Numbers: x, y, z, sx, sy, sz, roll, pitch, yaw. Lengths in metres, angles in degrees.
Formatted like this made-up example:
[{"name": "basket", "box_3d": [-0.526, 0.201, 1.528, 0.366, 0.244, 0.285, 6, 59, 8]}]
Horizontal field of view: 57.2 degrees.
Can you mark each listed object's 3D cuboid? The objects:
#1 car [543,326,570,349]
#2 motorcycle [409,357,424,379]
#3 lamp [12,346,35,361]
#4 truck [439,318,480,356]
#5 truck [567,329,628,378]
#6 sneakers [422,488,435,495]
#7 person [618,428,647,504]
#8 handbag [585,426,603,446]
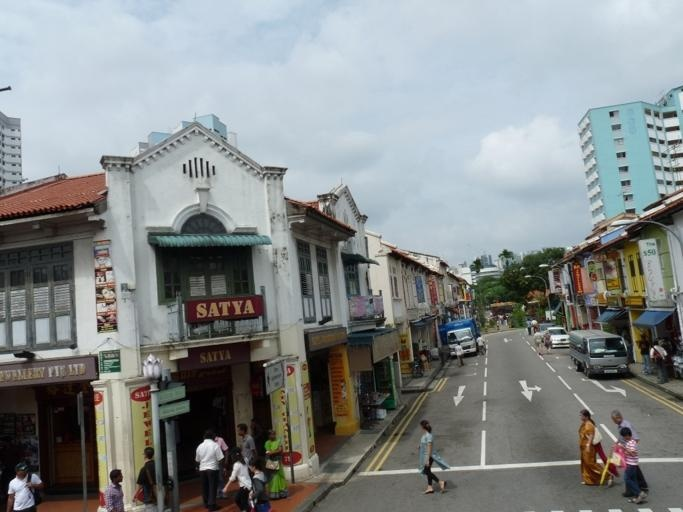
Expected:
[{"name": "car", "box_3d": [17.859, 6.620, 51.797, 1.321, 1.074, 3.226, -4, -12, 9]}, {"name": "motorcycle", "box_3d": [4.976, 7.433, 41.774, 0.948, 1.324, 0.985, -1, -9, 9]}, {"name": "lamp", "box_3d": [-10.400, 3.261, 20.617, 0.511, 0.204, 0.408, 8, -22, 14]}, {"name": "truck", "box_3d": [10.319, 7.154, 54.040, 2.212, 2.277, 4.383, -6, -19, 9]}, {"name": "truck", "box_3d": [14.411, 5.455, 35.359, 1.872, 1.788, 3.693, -2, -10, 5]}, {"name": "sneakers", "box_3d": [2.761, 7.386, 19.736, 0.368, 0.260, 0.126, 3, -9, 6]}, {"name": "person", "box_3d": [8.321, 5.960, 18.018, 0.588, 2.068, 0.576, -10, -8, 19]}, {"name": "handbag", "box_3d": [7.696, 5.430, 18.944, 0.139, 0.494, 0.476, -15, -11, 42]}]
